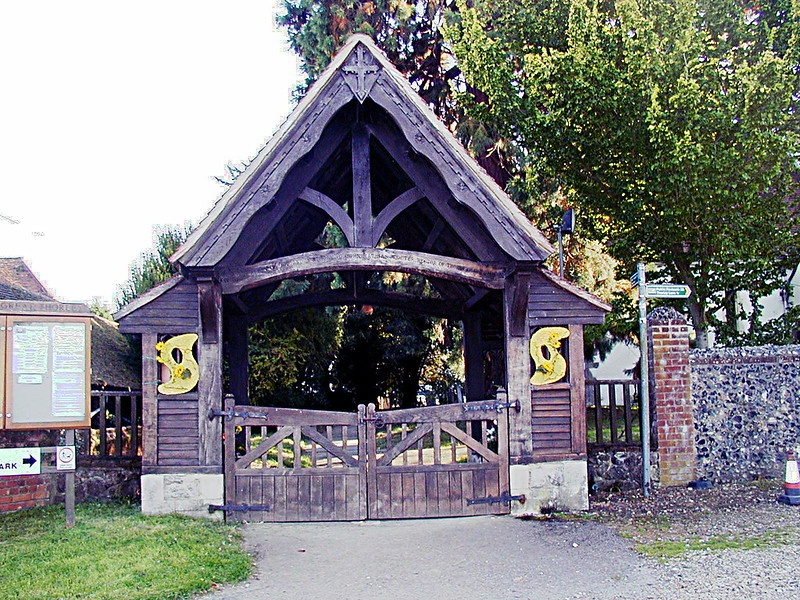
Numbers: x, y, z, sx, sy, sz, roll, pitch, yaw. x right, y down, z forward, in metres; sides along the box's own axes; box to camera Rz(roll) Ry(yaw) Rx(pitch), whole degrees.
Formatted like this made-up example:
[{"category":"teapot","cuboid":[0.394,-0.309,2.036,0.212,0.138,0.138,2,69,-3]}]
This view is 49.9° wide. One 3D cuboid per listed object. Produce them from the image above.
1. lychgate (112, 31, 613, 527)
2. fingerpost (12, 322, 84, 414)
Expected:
[{"category":"lychgate","cuboid":[-0.675,-0.076,17.285,8.593,9.562,4.189,-1,-19,-4]},{"category":"fingerpost","cuboid":[-5.907,1.225,14.526,1.356,1.950,0.124,1,13,-21]}]
